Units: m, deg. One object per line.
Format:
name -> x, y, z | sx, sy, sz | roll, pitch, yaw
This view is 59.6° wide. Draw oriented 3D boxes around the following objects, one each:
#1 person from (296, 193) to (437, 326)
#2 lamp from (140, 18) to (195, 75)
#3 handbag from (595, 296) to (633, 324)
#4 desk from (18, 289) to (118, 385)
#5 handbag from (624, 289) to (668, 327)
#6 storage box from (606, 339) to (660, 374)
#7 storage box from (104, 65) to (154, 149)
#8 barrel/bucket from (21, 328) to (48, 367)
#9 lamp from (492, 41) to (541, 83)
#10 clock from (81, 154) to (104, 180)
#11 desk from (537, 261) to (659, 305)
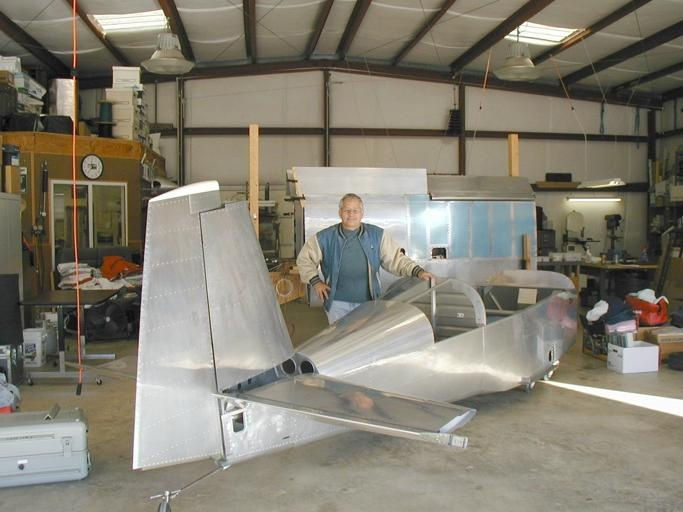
person -> 0.132, 0.024, 5.334 | 1.056, 1.115, 0.363 | -3, 12, -8
lamp -> -2.601, -3.055, 8.904 | 0.675, 0.587, 0.541 | 8, 15, 35
handbag -> 3.170, 0.659, 6.944 | 0.332, 0.227, 0.396 | -1, 12, 1
desk -> -3.263, 0.971, 7.034 | 0.985, 1.095, 1.483 | -1, -6, -18
handbag -> 3.791, 0.604, 7.482 | 0.424, 0.411, 0.616 | -5, 12, -16
storage box -> 3.240, 1.085, 6.626 | 0.349, 0.225, 0.363 | 0, 3, 19
storage box -> -4.088, -2.851, 11.283 | 0.596, 1.491, 1.205 | -4, 12, -12
barrel/bucket -> -3.491, 1.050, 6.811 | 0.317, 0.438, 0.353 | -8, -11, 19
lamp -> 2.793, -3.253, 9.693 | 0.760, 0.614, 0.786 | 1, -7, 4
clock -> -4.433, -1.570, 10.541 | 0.036, 0.367, 0.359 | -9, -31, 43
desk -> 5.065, 0.424, 11.625 | 1.711, 1.091, 1.749 | 1, 1, -11
